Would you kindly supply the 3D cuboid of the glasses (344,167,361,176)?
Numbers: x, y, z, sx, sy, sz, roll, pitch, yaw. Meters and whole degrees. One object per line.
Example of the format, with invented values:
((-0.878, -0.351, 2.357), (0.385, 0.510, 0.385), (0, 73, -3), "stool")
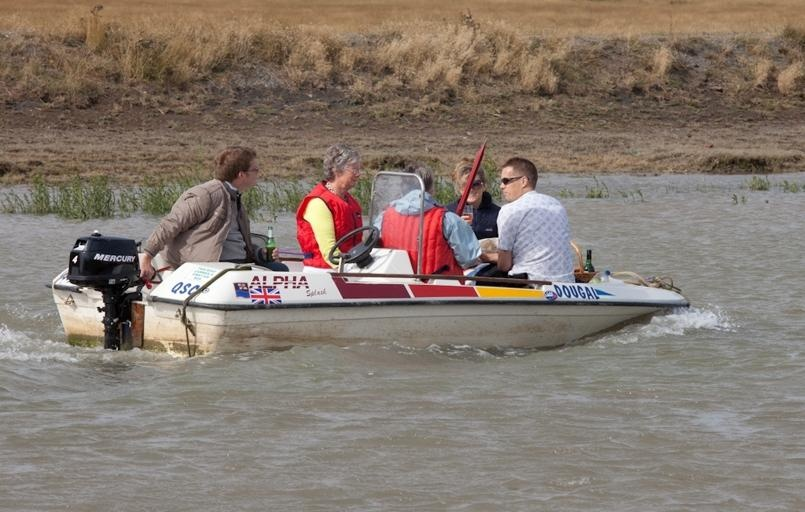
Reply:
((-0.906, -1.529, 29.507), (0.257, 0.139, 0.177), (3, 4, 14), "glasses")

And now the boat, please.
((-0.900, -0.046, 29.704), (9.186, 2.020, 3.896), (-1, 7, -18), "boat")
